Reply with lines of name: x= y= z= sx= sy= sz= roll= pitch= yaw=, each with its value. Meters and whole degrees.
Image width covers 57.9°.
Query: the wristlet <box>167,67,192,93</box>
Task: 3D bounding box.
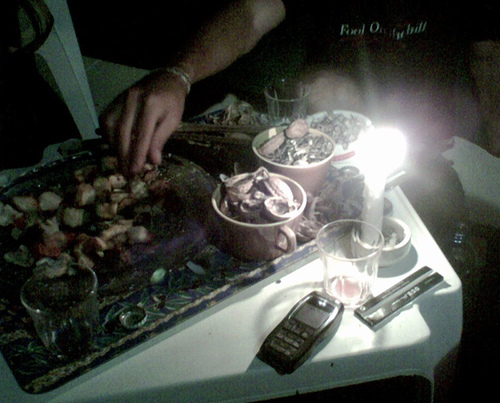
wristlet: x=-0.209 y=-0.356 z=1.353 sx=0.062 sy=0.050 sz=0.064 roll=1 pitch=-4 yaw=25

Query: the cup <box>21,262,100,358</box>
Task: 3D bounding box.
cup: x=-0.411 y=0.234 z=0.994 sx=0.163 sy=0.164 sz=0.130 roll=20 pitch=36 yaw=17

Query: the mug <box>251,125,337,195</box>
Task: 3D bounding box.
mug: x=0.113 y=-0.107 z=1.199 sx=0.148 sy=0.090 sz=0.131 roll=25 pitch=46 yaw=30

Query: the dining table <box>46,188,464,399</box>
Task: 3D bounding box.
dining table: x=0.118 y=0.375 z=1.439 sx=1.025 sy=0.348 sz=0.915 roll=-28 pitch=-5 yaw=7

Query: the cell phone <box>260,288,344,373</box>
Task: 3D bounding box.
cell phone: x=0.118 y=0.279 z=0.990 sx=0.104 sy=0.056 sz=0.205 roll=26 pitch=49 yaw=27

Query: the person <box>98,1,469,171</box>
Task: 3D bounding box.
person: x=0.180 y=-0.452 z=1.543 sx=1.224 sy=0.475 sz=0.497 roll=-10 pitch=38 yaw=-24

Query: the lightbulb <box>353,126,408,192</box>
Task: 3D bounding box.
lightbulb: x=0.286 y=-0.097 z=1.040 sx=0.109 sy=0.131 sz=0.113 roll=-7 pitch=37 yaw=-20

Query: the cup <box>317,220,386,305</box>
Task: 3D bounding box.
cup: x=0.222 y=0.137 z=1.117 sx=0.166 sy=0.163 sz=0.189 roll=-3 pitch=27 yaw=-3
